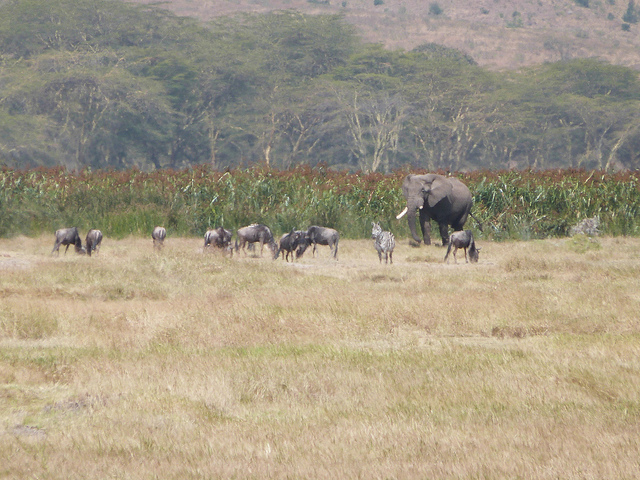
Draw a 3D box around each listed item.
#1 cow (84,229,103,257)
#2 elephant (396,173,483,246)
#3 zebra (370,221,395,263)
[{"bbox_3d":[-11.111,0.158,60.502,0.739,1.251,0.718,2,4,-11],"label":"cow"},{"bbox_3d":[6.516,-1.473,64.856,5.614,3.829,2.623,-1,1,-40],"label":"elephant"},{"bbox_3d":[3.115,0.155,60.621,1.045,1.910,1.232,3,4,1],"label":"zebra"}]
